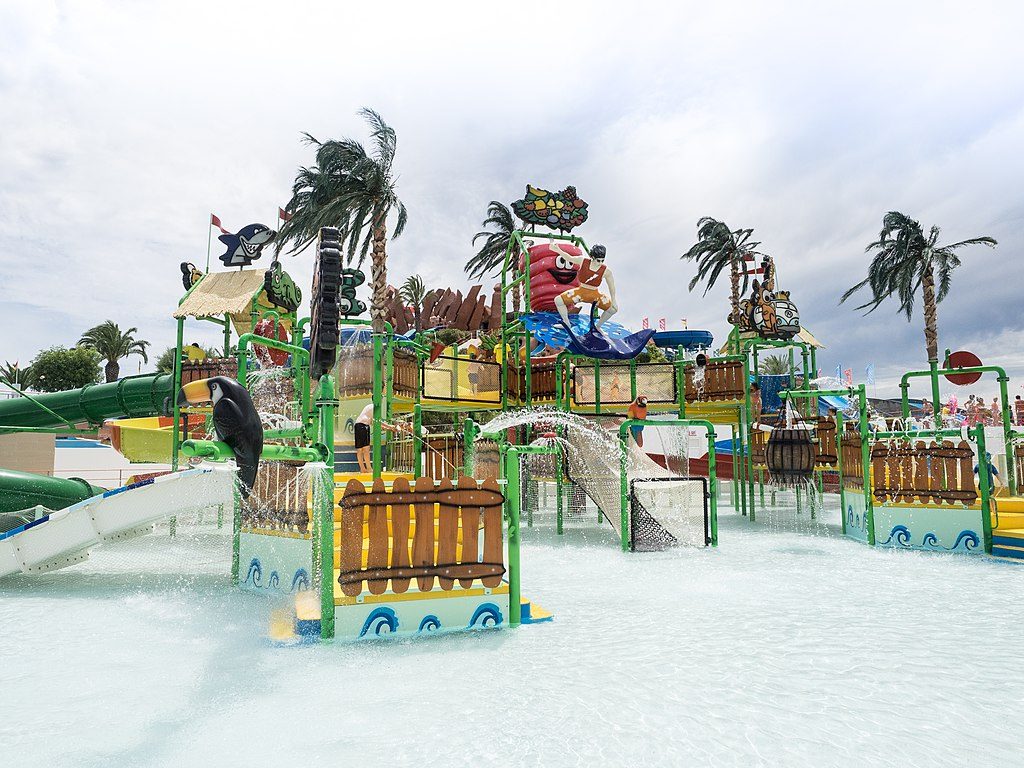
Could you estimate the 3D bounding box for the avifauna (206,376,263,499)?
[{"bbox_3d":[-2.623,0.473,7.218,0.465,1.067,0.347,0,2,-2],"label":"avifauna"}]
